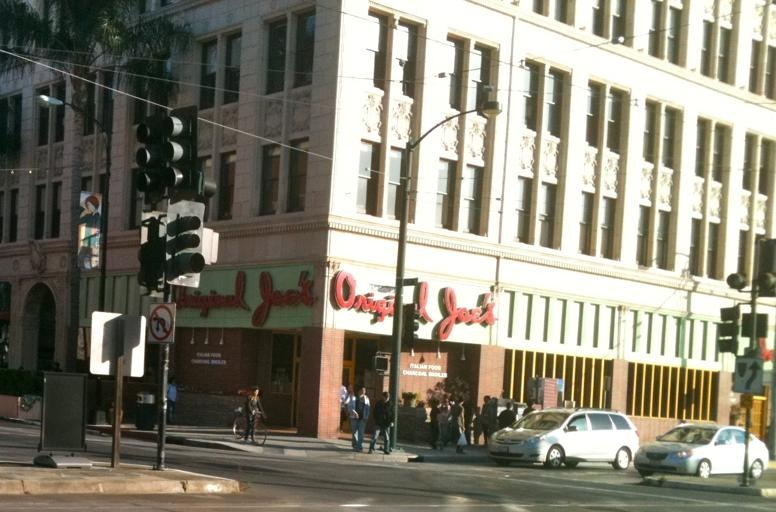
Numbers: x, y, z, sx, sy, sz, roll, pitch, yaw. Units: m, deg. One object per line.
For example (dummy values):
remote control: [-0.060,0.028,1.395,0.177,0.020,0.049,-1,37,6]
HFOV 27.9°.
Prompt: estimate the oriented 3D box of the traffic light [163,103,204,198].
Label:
traffic light: [-7.209,-3.684,55.680,1.202,3.305,1.350,2,-1,-15]

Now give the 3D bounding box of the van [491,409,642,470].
van: [7.847,7.950,68.103,5.447,2.053,2.994,8,-13,-25]

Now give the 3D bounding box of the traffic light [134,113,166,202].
traffic light: [-8.422,-3.460,55.530,1.052,3.124,1.106,1,0,-12]

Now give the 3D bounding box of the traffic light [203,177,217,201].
traffic light: [-6.338,-2.451,55.434,0.465,0.717,0.539,3,-10,-1]

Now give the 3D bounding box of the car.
car: [13.066,8.590,65.523,8.325,2.820,3.878,0,-1,-29]

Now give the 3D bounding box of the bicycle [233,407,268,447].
bicycle: [-6.043,7.512,69.174,2.046,1.237,1.024,-4,-12,43]
